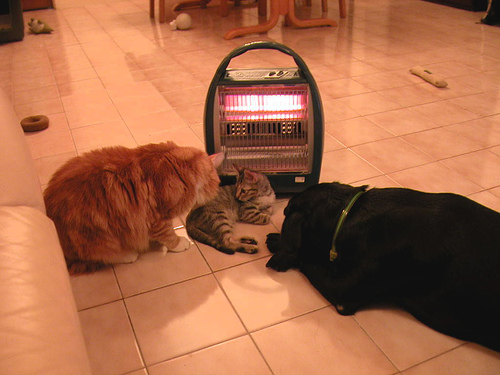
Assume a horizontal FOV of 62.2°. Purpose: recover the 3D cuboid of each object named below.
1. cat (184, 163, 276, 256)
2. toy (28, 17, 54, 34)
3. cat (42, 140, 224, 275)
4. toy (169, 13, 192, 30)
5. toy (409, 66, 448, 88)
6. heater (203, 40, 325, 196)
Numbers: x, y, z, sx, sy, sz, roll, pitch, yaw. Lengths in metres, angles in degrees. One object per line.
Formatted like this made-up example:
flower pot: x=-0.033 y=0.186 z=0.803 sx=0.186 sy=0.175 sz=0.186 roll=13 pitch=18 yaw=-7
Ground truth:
cat: x=-0.055 y=0.156 z=2.282 sx=0.539 sy=0.249 sz=0.400 roll=-18 pitch=51 yaw=-18
toy: x=-3.133 y=-2.400 z=6.182 sx=0.333 sy=0.161 sz=0.230 roll=10 pitch=13 yaw=-7
cat: x=-0.586 y=0.065 z=2.142 sx=0.959 sy=0.536 sz=0.474 roll=-11 pitch=32 yaw=-31
toy: x=-1.030 y=-2.424 z=6.141 sx=0.294 sy=0.207 sz=0.218 roll=-8 pitch=35 yaw=23
toy: x=1.713 y=-1.066 z=3.970 sx=0.138 sy=0.100 sz=0.370 roll=-9 pitch=32 yaw=-24
heater: x=0.074 y=-0.381 z=2.392 sx=0.669 sy=0.847 sz=0.444 roll=-1 pitch=43 yaw=0
